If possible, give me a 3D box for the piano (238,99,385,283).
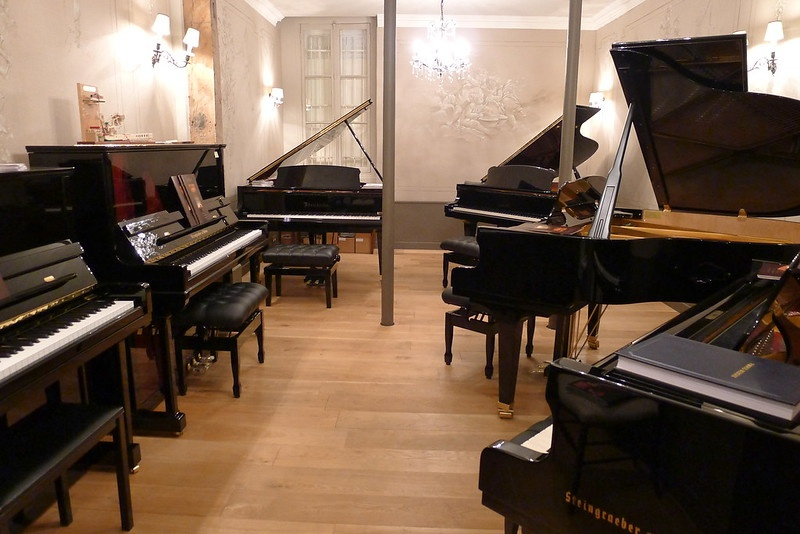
[{"bbox_3d":[-1.072,-1.137,7.882,2.014,2.561,2.222,5,16,4],"label":"piano"}]

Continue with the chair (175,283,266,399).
[{"bbox_3d":[-1.370,0.514,4.397,0.537,0.665,0.942,2,11,-4],"label":"chair"}]

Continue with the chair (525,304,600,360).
[{"bbox_3d":[1.211,0.526,4.224,0.501,0.370,0.718,-1,3,20],"label":"chair"}]

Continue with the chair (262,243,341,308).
[{"bbox_3d":[-1.055,0.056,6.076,0.766,0.554,0.862,-2,16,-5],"label":"chair"}]

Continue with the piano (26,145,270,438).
[{"bbox_3d":[-1.718,-0.022,4.486,0.764,1.862,1.970,1,13,2],"label":"piano"}]

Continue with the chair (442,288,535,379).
[{"bbox_3d":[0.707,0.436,4.600,0.681,0.676,0.826,4,6,34],"label":"chair"}]

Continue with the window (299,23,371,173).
[{"bbox_3d":[-0.996,-2.550,8.626,1.101,2.149,0.055,5,22,8],"label":"window"}]

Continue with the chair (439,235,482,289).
[{"bbox_3d":[0.637,-0.021,6.326,0.506,0.508,0.614,5,9,16],"label":"chair"}]

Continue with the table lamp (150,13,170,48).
[{"bbox_3d":[-2.199,-2.181,5.243,0.165,0.282,0.637,-7,17,-20],"label":"table lamp"}]
